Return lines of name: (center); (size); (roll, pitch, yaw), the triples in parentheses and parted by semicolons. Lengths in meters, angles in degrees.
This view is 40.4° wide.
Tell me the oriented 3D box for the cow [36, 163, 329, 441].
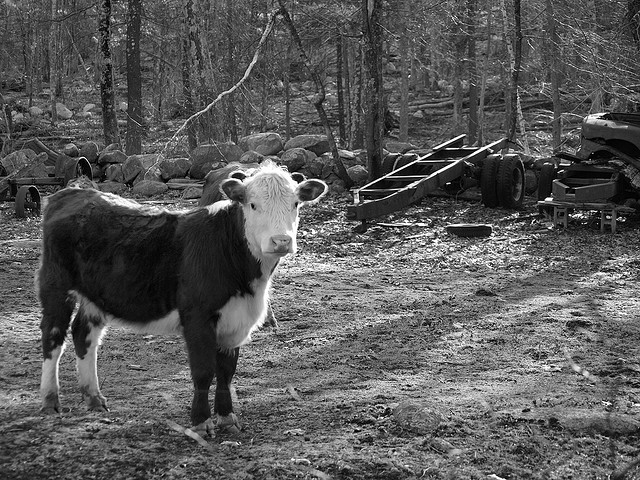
cow: (-1.602, 0.660, 9.797); (3.642, 2.858, 1.273); (2, 4, 27)
